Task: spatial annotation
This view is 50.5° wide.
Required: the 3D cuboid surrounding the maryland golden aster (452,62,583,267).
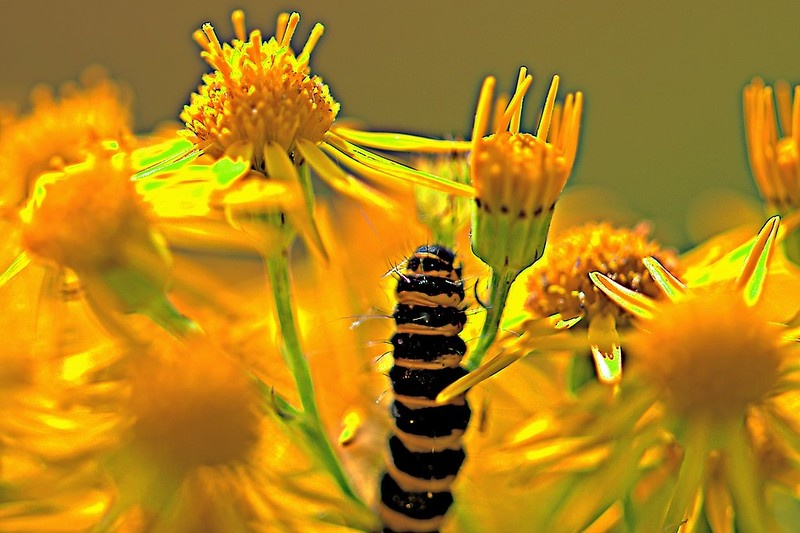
[{"bbox_3d":[0.076,-0.060,0.516,0.070,0.123,0.048,5,-11,-15],"label":"maryland golden aster"}]
